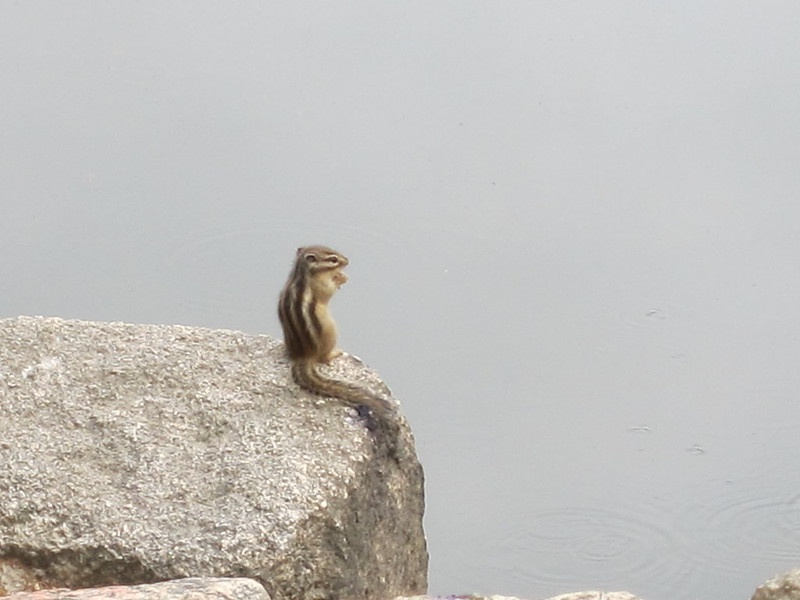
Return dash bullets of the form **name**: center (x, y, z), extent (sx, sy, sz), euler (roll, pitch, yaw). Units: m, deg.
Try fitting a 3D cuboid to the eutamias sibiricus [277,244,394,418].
- **eutamias sibiricus**: center (-0.286, 0.054, 6.498), extent (0.545, 0.545, 0.187), euler (-3, 19, -12)
